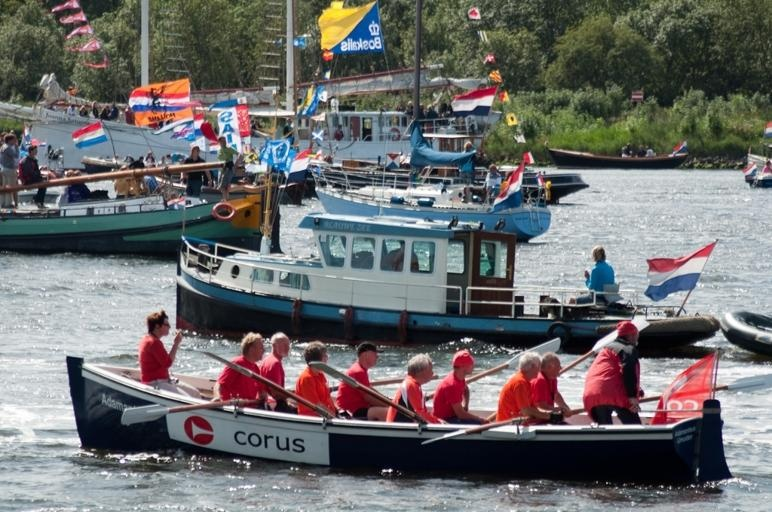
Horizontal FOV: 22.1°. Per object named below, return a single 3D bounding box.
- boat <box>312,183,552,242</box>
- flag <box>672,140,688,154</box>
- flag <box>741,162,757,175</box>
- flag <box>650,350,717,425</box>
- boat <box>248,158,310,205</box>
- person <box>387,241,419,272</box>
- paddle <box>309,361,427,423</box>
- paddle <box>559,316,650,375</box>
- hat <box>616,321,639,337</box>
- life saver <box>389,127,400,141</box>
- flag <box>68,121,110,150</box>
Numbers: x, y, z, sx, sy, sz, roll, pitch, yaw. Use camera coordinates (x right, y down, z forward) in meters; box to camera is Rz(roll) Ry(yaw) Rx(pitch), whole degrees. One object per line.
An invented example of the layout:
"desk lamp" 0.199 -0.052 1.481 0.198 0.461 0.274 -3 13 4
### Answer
"boat" 1.399 -2.928 109.122 13.639 3.787 4.665 7 2 23
"flag" 22.016 -8.159 146.956 0.591 0.728 2.091 -5 20 33
"flag" 25.035 -6.079 135.621 0.625 0.941 1.484 -1 4 -13
"flag" 13.312 5.982 88.292 2.588 3.364 0.260 3 2 17
"boat" -7.074 -4.504 121.490 1.746 2.839 7.760 14 -9 -40
"person" 0.606 -0.035 93.520 1.352 1.510 0.362 3 2 9
"paddle" -0.770 6.112 87.533 3.965 0.267 0.604 33 1 5
"paddle" 9.880 3.992 89.822 4.070 0.728 0.327 -41 -13 26
"hat" 10.633 3.158 86.739 0.768 0.591 0.562 -4 7 -14
"life saver" 0.564 -7.624 122.495 0.698 0.838 0.076 -3 0 4
"flag" -16.603 -6.966 111.441 2.139 1.752 0.426 -20 -13 13
